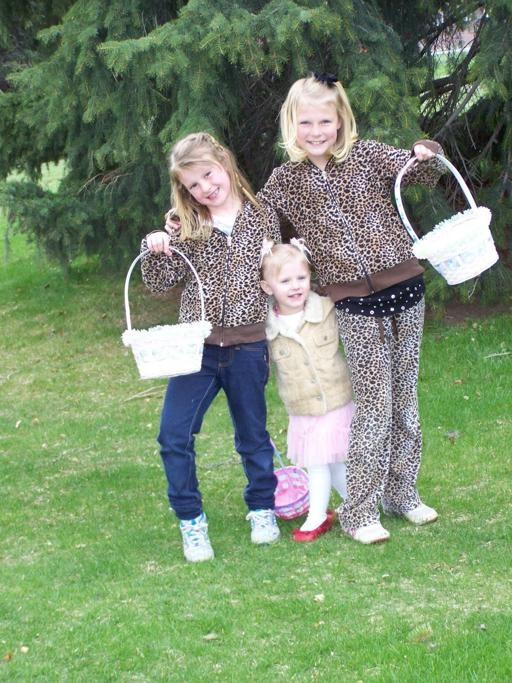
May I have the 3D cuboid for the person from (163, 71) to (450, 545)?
[{"bbox_3d":[0.432,-0.120,3.761,0.485,1.927,0.428,-13,13,-18],"label":"person"}]

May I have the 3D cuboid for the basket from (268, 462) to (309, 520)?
[{"bbox_3d":[0.164,0.711,4.320,0.197,0.089,0.219,-10,48,12],"label":"basket"}]

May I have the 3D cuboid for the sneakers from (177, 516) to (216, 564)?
[{"bbox_3d":[-0.246,0.842,3.848,0.095,0.095,0.236,-19,38,3],"label":"sneakers"}]

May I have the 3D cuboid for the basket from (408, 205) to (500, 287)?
[{"bbox_3d":[0.724,-0.346,3.317,0.294,0.271,0.132,-6,12,10],"label":"basket"}]

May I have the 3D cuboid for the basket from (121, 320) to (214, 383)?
[{"bbox_3d":[-0.313,0.101,3.369,0.347,0.169,0.218,-9,-14,-13],"label":"basket"}]

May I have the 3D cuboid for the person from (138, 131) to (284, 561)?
[{"bbox_3d":[-0.109,0.021,3.707,0.765,1.667,0.614,-3,-2,-4],"label":"person"}]

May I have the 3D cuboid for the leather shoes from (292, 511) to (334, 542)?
[{"bbox_3d":[0.249,0.824,3.959,0.073,0.064,0.196,-12,-11,33],"label":"leather shoes"}]
